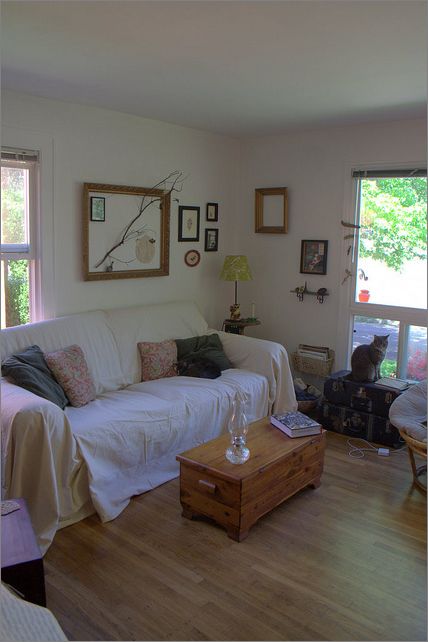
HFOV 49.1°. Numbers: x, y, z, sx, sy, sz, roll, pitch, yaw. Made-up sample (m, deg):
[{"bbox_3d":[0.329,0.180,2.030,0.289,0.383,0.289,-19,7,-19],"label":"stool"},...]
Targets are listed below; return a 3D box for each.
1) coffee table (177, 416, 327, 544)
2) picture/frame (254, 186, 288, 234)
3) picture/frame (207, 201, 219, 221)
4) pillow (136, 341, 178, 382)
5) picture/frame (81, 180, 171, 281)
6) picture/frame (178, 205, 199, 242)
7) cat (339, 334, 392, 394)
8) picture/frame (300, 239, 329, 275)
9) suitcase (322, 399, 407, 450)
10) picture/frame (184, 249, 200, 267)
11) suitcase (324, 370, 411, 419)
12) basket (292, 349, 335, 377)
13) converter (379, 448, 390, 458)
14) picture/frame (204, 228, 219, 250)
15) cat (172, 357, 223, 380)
[{"bbox_3d":[0.248,0.832,2.608,0.417,0.396,0.829,8,13,43],"label":"coffee table"},{"bbox_3d":[0.569,-1.085,4.612,0.394,0.439,0.025,13,22,43],"label":"picture/frame"},{"bbox_3d":[-0.023,-1.078,4.592,0.014,0.191,0.185,8,13,33],"label":"picture/frame"},{"bbox_3d":[-0.430,0.302,3.576,0.311,0.314,0.113,-4,5,-43],"label":"pillow"},{"bbox_3d":[-0.726,-0.732,3.707,0.034,0.720,0.829,7,11,36],"label":"picture/frame"},{"bbox_3d":[-0.251,-0.907,4.316,0.026,0.363,0.322,5,10,29],"label":"picture/frame"},{"bbox_3d":[1.208,0.268,3.671,0.343,0.417,0.212,2,20,35],"label":"cat"},{"bbox_3d":[0.943,-0.601,4.350,0.286,0.341,0.026,14,20,41],"label":"picture/frame"},{"bbox_3d":[1.114,0.803,3.580,0.356,0.144,0.296,16,10,39],"label":"suitcase"},{"bbox_3d":[-0.211,-0.592,4.436,0.145,0.152,0.148,10,4,36],"label":"picture/frame"},{"bbox_3d":[1.215,0.572,3.746,0.576,0.221,0.419,9,10,28],"label":"suitcase"},{"bbox_3d":[0.919,0.386,4.356,0.330,0.171,0.232,6,10,32],"label":"basket"},{"bbox_3d":[1.211,0.939,3.335,0.079,0.024,0.120,3,5,23],"label":"converter"},{"bbox_3d":[-0.040,-0.809,4.612,0.018,0.238,0.213,5,9,29],"label":"picture/frame"},{"bbox_3d":[-0.093,0.380,3.571,0.232,0.095,0.175,9,-4,-41],"label":"cat"}]
